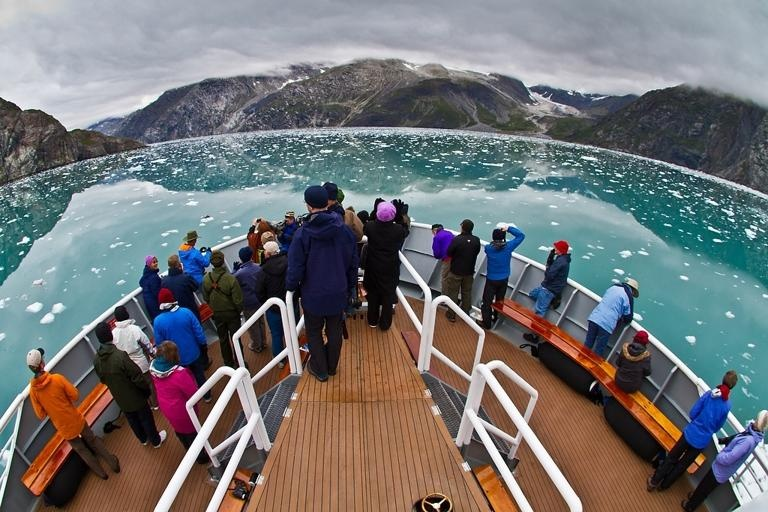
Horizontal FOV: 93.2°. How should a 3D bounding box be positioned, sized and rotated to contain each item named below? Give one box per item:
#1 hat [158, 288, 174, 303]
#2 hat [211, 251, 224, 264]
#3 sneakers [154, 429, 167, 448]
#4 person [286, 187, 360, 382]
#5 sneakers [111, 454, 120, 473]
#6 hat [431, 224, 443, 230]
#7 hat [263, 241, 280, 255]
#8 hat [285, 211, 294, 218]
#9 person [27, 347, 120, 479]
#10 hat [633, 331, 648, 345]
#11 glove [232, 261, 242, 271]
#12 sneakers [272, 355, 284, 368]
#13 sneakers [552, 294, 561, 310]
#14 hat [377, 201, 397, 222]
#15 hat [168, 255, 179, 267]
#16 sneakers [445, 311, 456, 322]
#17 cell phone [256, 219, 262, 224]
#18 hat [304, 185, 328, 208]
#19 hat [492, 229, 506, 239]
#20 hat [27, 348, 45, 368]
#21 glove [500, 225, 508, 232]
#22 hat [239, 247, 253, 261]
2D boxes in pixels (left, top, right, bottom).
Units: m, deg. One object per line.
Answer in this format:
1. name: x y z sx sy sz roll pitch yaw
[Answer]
1. hat: -3.982 0.705 6.669 0.219 0.265 0.286 -4 12 2
2. hat: -3.247 0.027 7.161 0.200 0.235 0.260 1 26 -5
3. sneakers: -4.161 3.346 6.724 0.109 0.212 0.310 13 31 -3
4. person: -1.010 0.487 5.723 0.906 2.865 1.164 12 33 15
5. sneakers: -4.755 3.601 6.439 0.120 0.115 0.333 9 34 -33
6. hat: 1.269 -0.698 8.721 0.189 0.146 0.148 -25 6 26
7. hat: -2.068 -0.135 6.718 0.199 0.147 0.268 -9 37 -32
8. hat: -2.088 -0.916 8.139 0.159 0.115 0.217 3 12 6
9. person: -5.233 2.694 6.034 1.202 2.315 0.525 21 36 27
10. hat: 5.033 1.551 7.090 0.237 0.208 0.337 6 8 23
11. glove: -3.373 0.230 8.330 0.150 0.213 0.066 19 29 33
12. sneakers: -2.188 2.166 7.513 0.200 0.251 0.589 1 -1 -17
13. sneakers: 4.185 1.125 8.835 0.123 0.334 0.248 20 -11 -2
14. hat: 0.035 -0.774 6.219 0.252 0.164 0.349 1 39 -2
15. hat: -4.386 0.110 7.564 0.182 0.229 0.224 5 55 -14
16. sneakers: 1.634 1.454 8.844 0.162 0.207 0.305 -3 9 -22
17. cell phone: -2.966 -0.831 8.611 0.135 0.041 0.135 -11 11 28
18. hat: -1.052 -0.914 5.562 0.328 0.357 0.254 -4 32 -12
19. hat: 2.497 -0.435 8.028 0.224 0.235 0.302 -35 19 -34
20. hat: -5.554 1.657 5.806 0.240 0.343 0.114 9 0 11
21. glove: 2.771 -0.624 8.284 0.206 0.058 0.216 -3 13 10
22. hat: -2.807 -0.018 7.416 0.217 0.286 0.280 0 42 -9
